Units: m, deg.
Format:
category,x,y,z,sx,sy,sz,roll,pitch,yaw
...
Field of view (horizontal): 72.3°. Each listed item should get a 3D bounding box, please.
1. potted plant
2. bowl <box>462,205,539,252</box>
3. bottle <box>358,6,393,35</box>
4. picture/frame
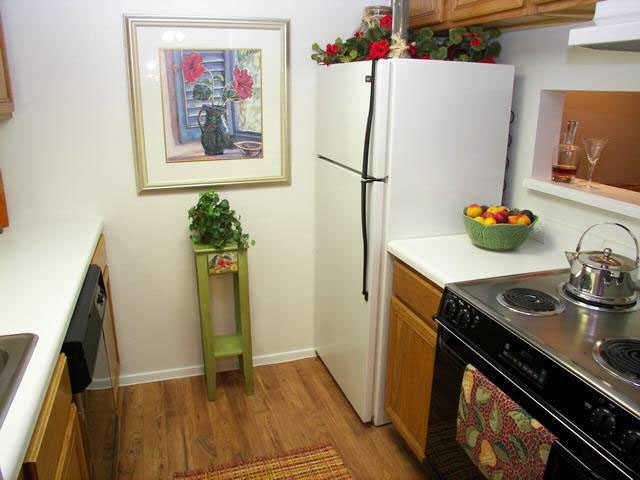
category,x,y,z,sx,sy,sz,roll,pitch,yaw
potted plant,-0.569,-0.109,2.553,0.317,0.270,0.374,8,10,-16
bowl,0.868,-0.015,2.099,0.219,0.138,0.215,-6,-7,-1
bottle,0.283,-1.120,2.285,0.140,0.149,0.147,-5,19,-14
picture/frame,-0.677,-0.817,2.521,0.899,1.049,0.069,-6,20,-16
